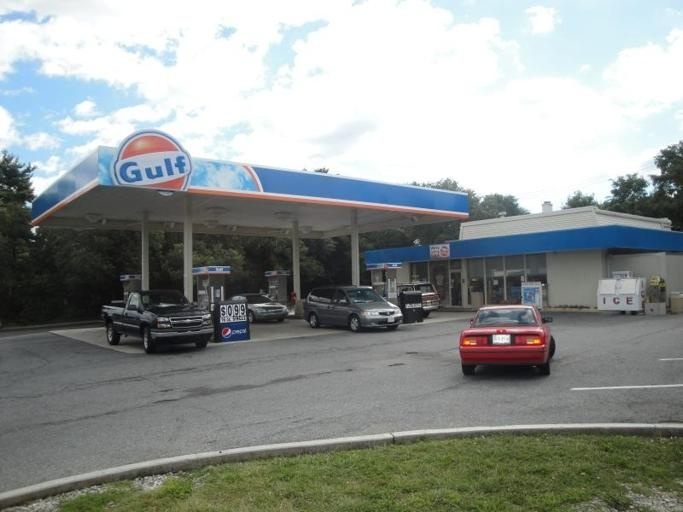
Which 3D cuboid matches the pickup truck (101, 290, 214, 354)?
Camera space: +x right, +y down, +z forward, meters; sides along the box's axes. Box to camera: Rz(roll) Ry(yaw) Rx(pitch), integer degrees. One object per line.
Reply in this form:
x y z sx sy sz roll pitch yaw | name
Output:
-6.047 2.052 19.045 1.856 1.357 3.610 2 -5 -38 | pickup truck

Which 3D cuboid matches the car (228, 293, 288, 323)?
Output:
-3.921 2.658 29.828 1.297 0.997 3.122 2 -5 -41 | car

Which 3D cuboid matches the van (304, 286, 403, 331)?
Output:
0.409 2.133 23.788 1.524 1.779 4.207 -3 1 -40 | van

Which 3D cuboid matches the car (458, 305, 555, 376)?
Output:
3.427 1.758 12.250 1.072 0.844 2.417 -2 -2 10 | car

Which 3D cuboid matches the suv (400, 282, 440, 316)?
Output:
3.727 2.057 29.207 1.267 1.246 2.278 1 2 -39 | suv
